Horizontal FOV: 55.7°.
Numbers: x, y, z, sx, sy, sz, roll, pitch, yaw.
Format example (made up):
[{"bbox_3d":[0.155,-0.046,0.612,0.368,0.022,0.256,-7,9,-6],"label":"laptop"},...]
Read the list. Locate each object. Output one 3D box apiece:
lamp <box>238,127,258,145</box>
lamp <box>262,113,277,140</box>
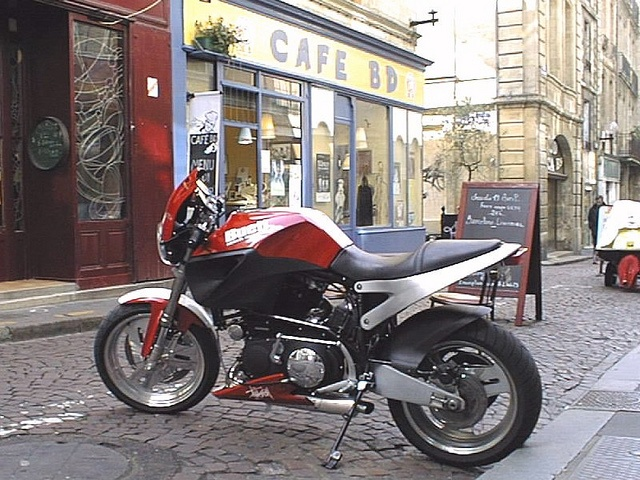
[{"bbox_3d":[-1.449,-2.114,12.269,0.396,0.329,0.363,0,-1,-5],"label":"lamp"},{"bbox_3d":[-1.120,-2.425,12.867,0.109,0.551,0.447,3,4,23],"label":"lamp"}]
